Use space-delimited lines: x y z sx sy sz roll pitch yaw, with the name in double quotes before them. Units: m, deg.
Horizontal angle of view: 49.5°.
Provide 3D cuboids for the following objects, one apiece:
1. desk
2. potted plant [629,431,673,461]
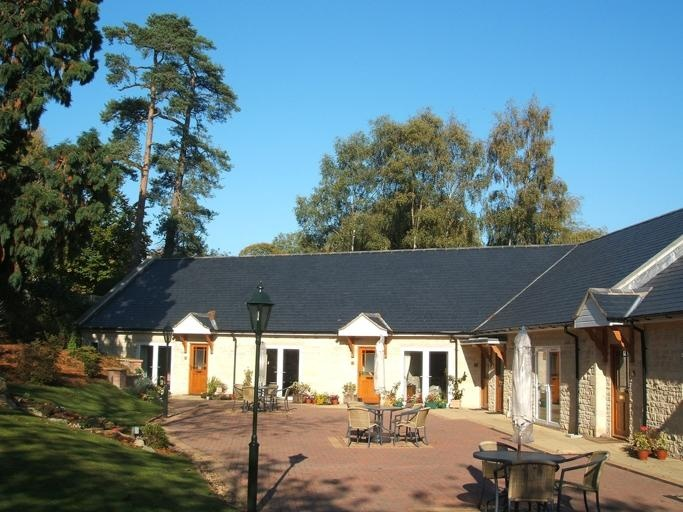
"desk" 4.493 5.516 18.104 1.879 1.480 1.483 -2 -15 19
"potted plant" 9.395 5.809 22.814 0.825 0.732 0.814 1 -8 -8
